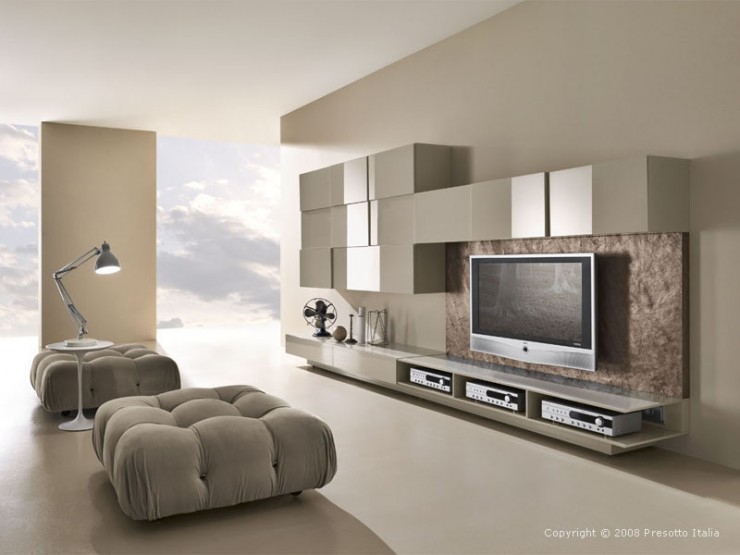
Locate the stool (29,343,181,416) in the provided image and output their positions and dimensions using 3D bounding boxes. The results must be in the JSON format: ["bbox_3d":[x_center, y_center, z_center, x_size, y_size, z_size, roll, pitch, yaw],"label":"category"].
[{"bbox_3d":[-2.192,0.824,4.477,0.737,0.307,0.748,3,-4,-33],"label":"stool"}]

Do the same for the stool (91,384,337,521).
[{"bbox_3d":[-0.795,0.911,2.828,0.769,0.309,0.779,3,-2,-31],"label":"stool"}]

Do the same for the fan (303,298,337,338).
[{"bbox_3d":[-0.613,0.508,6.714,0.363,0.452,0.250,5,14,11],"label":"fan"}]

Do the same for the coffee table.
[{"bbox_3d":[-2.288,0.830,4.300,0.543,0.643,0.528,0,-9,-36],"label":"coffee table"}]
